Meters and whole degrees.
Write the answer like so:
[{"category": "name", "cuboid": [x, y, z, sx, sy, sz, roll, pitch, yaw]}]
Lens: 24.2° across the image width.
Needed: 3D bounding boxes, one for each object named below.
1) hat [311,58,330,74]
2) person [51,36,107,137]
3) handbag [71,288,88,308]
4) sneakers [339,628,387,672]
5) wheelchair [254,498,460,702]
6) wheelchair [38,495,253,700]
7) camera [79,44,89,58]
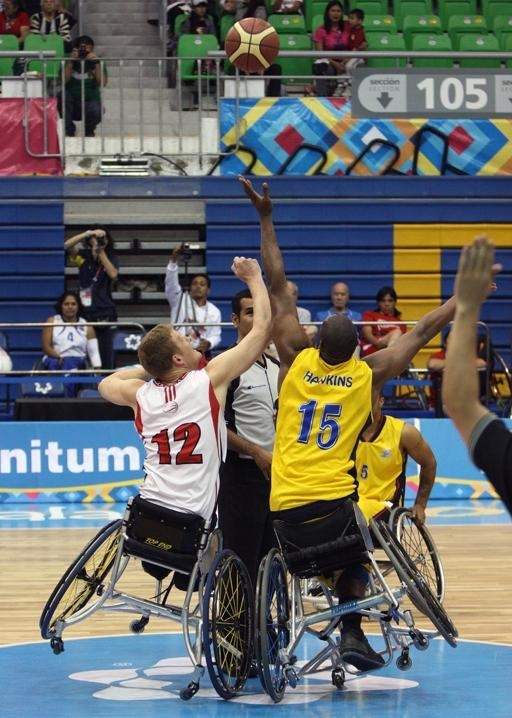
[{"category": "hat", "cuboid": [0.792, -3.527, 14.428, 0.181, 0.198, 0.190, 0, 2, -12]}, {"category": "person", "cuboid": [-1.982, -3.190, 13.636, 0.555, 1.259, 1.142, 0, 2, -7]}, {"category": "handbag", "cuboid": [-1.732, -0.610, 12.134, 0.231, 0.145, 0.276, -4, 12, -16]}, {"category": "sneakers", "cuboid": [0.428, 1.191, 4.852, 0.099, 0.167, 0.251, -24, -28, 25]}, {"category": "wheelchair", "cuboid": [0.316, 0.998, 5.113, 0.651, 1.049, 0.968, -12, -15, 2]}, {"category": "wheelchair", "cuboid": [-0.431, 0.899, 5.241, 0.793, 1.028, 0.916, 6, 8, -13]}, {"category": "camera", "cuboid": [-1.977, -3.536, 13.748, 0.175, 0.161, 0.066, 1, 0, 4]}]
